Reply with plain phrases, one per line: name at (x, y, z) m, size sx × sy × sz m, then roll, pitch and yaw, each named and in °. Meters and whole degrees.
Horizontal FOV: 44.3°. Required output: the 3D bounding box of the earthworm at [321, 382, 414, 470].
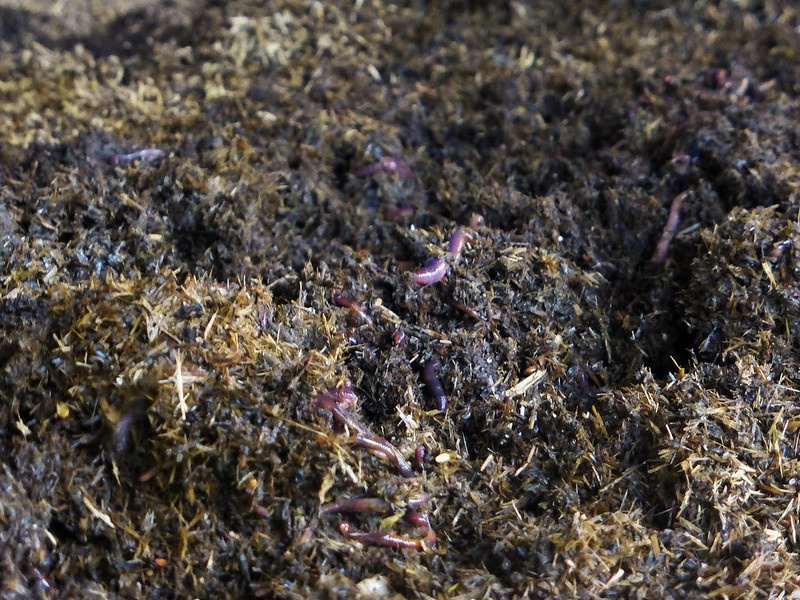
earthworm at (-0.200, 0.805, 5.806) m, size 0.719 × 0.203 × 0.268 m, roll 51°, pitch 20°, yaw -10°

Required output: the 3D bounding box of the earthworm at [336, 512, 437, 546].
earthworm at (-0.049, 1.357, 5.671) m, size 0.384 × 0.075 × 0.258 m, roll 9°, pitch 26°, yaw -2°

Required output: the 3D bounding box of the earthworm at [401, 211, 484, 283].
earthworm at (0.304, -0.288, 6.305) m, size 0.212 × 0.175 × 0.734 m, roll 13°, pitch 62°, yaw 53°
